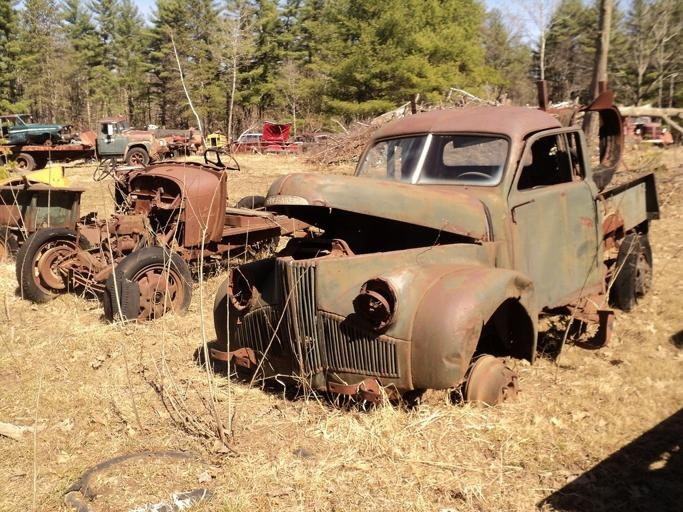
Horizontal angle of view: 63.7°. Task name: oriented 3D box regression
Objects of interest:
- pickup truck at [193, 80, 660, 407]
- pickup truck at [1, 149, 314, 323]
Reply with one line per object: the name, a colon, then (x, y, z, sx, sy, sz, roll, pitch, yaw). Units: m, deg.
pickup truck: (1.403, -0.340, 5.744, 4.627, 2.057, 2.571, -14, 16, -39)
pickup truck: (-2.371, -0.333, 8.388, 2.388, 1.845, 4.203, 10, 13, 36)
